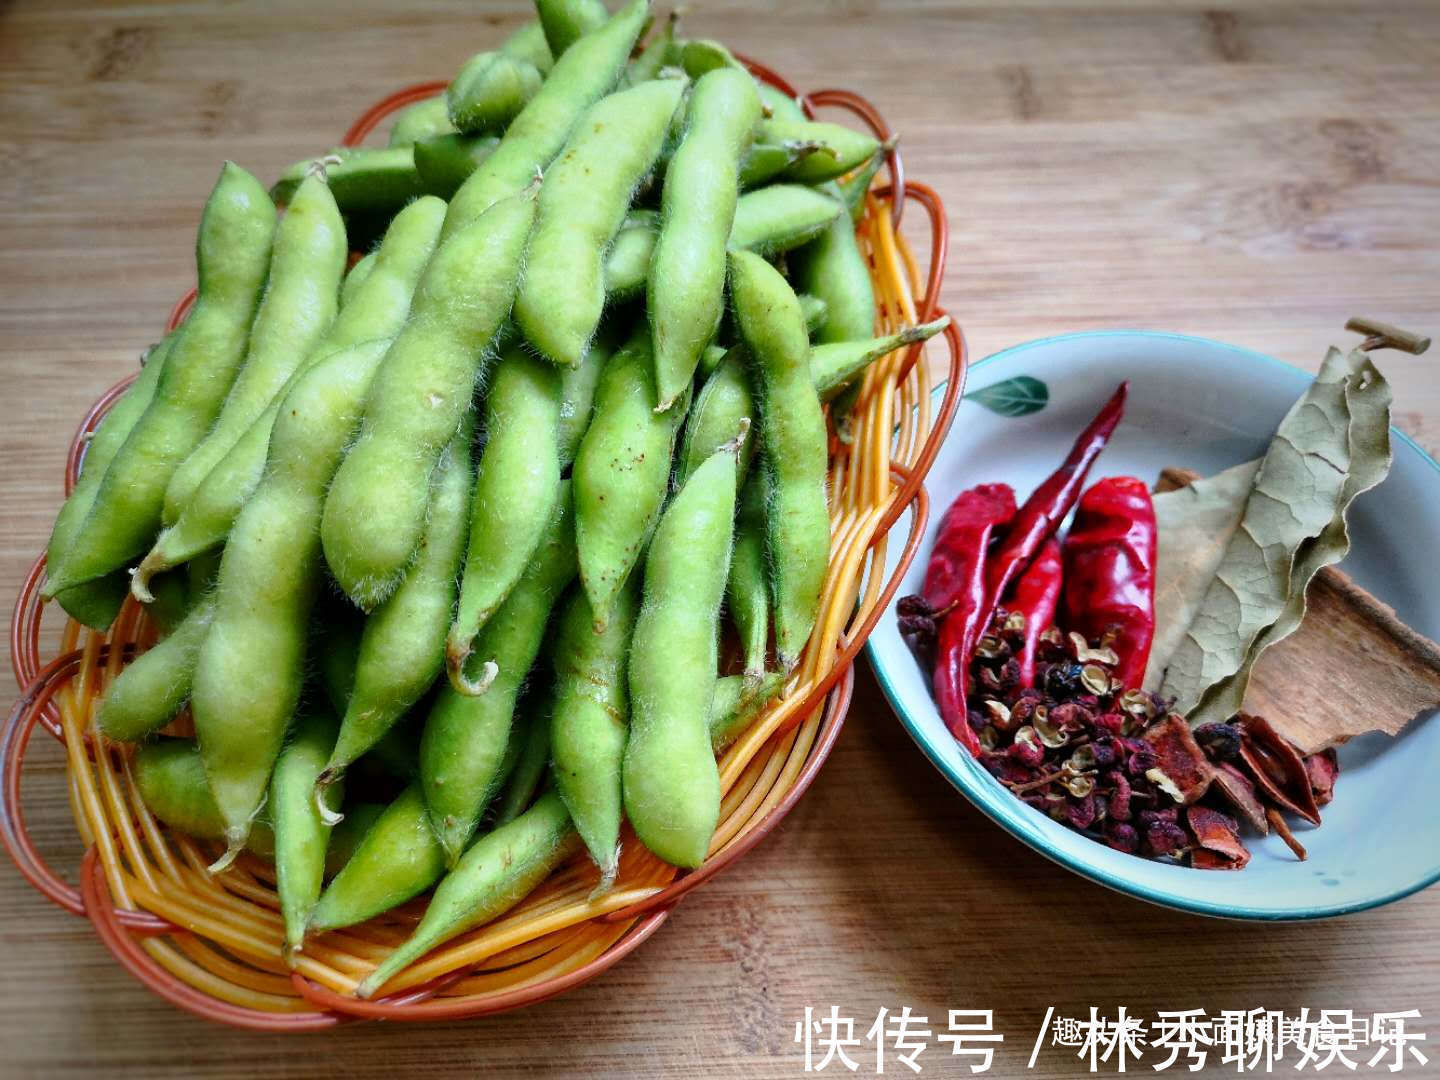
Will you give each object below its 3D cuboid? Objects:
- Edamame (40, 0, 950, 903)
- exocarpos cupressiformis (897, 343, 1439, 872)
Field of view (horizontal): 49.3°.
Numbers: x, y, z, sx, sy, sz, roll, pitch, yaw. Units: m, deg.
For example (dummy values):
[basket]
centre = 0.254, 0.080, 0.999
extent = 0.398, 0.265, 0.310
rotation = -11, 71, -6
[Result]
[Edamame]
centre = -0.199, -0.089, 1.302
extent = 0.627, 0.331, 0.804
rotation = 22, 59, 13
[exocarpos cupressiformis]
centre = 0.458, 0.055, 1.414
extent = 0.462, 0.112, 0.465
rotation = 12, 82, 14
